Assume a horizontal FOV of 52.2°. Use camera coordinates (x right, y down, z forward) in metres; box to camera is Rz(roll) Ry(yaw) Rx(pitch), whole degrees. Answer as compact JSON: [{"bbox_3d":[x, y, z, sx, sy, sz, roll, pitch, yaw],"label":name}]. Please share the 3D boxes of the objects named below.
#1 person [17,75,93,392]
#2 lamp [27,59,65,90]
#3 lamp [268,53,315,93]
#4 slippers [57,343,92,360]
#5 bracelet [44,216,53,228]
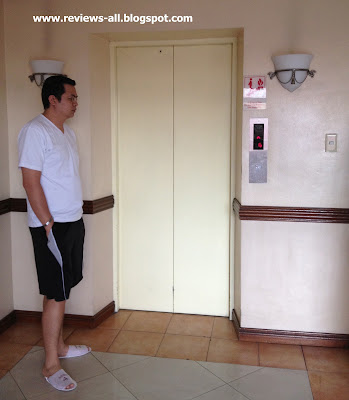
[{"bbox_3d":[-0.633,0.129,1.893,0.322,1.587,0.448,-1,4,-12],"label":"person"},{"bbox_3d":[-0.841,-0.777,2.227,0.129,0.130,0.136,-3,6,-19],"label":"lamp"},{"bbox_3d":[0.674,-0.712,2.033,0.233,0.238,0.143,2,22,17],"label":"lamp"},{"bbox_3d":[-0.575,0.863,2.079,0.143,0.053,0.068,-4,12,-26],"label":"slippers"},{"bbox_3d":[-0.617,0.112,1.738,0.031,0.054,0.027,-8,-30,15],"label":"bracelet"}]
